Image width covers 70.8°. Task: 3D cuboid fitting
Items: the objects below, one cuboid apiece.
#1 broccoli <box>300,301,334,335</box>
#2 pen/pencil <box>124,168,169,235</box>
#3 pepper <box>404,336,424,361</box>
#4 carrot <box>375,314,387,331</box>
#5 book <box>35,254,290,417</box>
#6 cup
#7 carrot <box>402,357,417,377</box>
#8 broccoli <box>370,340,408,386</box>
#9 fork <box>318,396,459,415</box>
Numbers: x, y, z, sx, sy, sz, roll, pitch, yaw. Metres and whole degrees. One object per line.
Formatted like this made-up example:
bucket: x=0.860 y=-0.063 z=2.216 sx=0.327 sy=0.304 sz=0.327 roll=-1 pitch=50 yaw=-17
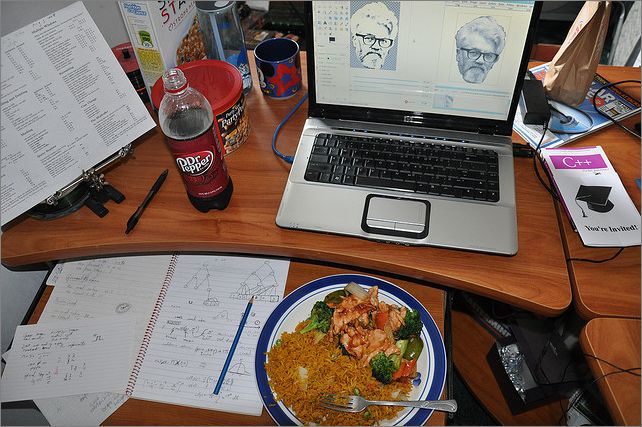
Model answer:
broccoli: x=-0.003 y=0.255 z=1.129 sx=0.075 sy=0.041 sz=0.060 roll=-40 pitch=30 yaw=5
pen/pencil: x=-0.447 y=-0.024 z=1.163 sx=0.016 sy=0.019 sz=0.198 roll=21 pitch=56 yaw=1
pepper: x=0.221 y=0.321 z=1.074 sx=0.030 sy=0.022 sz=0.053 roll=17 pitch=58 yaw=16
carrot: x=0.145 y=0.262 z=1.102 sx=0.025 sy=0.028 sz=0.037 roll=15 pitch=51 yaw=4
book: x=-0.363 y=0.283 z=1.109 sx=0.544 sy=0.077 sz=0.382 roll=4 pitch=58 yaw=8
cup: x=-0.119 y=-0.420 z=1.326 sx=0.131 sy=0.132 sz=0.185 roll=1 pitch=56 yaw=2
carrot: x=0.208 y=0.362 z=1.059 sx=0.027 sy=0.009 sz=0.038 roll=5 pitch=74 yaw=-3
broccoli: x=0.153 y=0.361 z=1.058 sx=0.073 sy=0.045 sz=0.061 roll=3 pitch=50 yaw=2
fork: x=0.153 y=0.439 z=1.035 sx=0.352 sy=0.031 sz=0.051 roll=0 pitch=68 yaw=9
